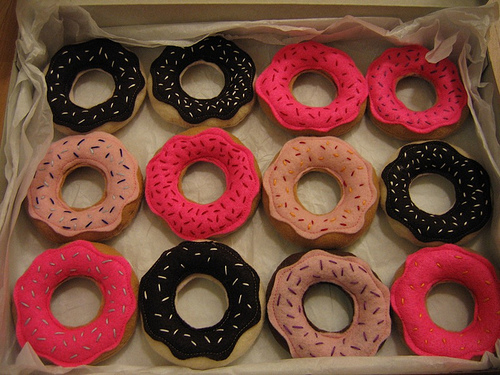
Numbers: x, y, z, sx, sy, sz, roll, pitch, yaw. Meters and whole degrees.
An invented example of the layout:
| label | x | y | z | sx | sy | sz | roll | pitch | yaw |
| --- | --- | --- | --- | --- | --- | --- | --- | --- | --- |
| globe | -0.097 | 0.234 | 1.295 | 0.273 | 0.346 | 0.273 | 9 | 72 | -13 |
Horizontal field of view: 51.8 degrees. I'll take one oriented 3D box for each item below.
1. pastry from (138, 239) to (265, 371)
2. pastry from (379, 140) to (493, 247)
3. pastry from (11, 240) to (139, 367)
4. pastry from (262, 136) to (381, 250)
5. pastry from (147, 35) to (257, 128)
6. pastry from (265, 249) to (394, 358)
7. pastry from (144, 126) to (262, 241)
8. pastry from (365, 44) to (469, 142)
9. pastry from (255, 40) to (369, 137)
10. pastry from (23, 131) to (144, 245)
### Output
| label | x | y | z | sx | sy | sz | roll | pitch | yaw |
| --- | --- | --- | --- | --- | --- | --- | --- | --- | --- |
| pastry | -0.242 | 0.572 | 2.532 | 0.630 | 0.529 | 0.343 | -9 | 19 | 0 |
| pastry | 0.973 | 0.049 | 2.678 | 0.414 | 0.255 | 0.385 | 6 | 42 | 1 |
| pastry | -0.857 | 0.565 | 2.440 | 0.521 | 0.647 | 0.211 | 5 | -22 | -2 |
| pastry | 0.358 | 0.020 | 2.543 | 0.526 | 0.626 | 0.217 | 5 | -20 | 2 |
| pastry | -0.156 | -0.617 | 3.027 | 0.705 | 0.757 | 0.475 | 2 | -42 | 7 |
| pastry | 0.383 | 0.560 | 2.523 | 0.606 | 0.421 | 0.311 | -4 | 20 | -2 |
| pastry | -0.249 | -0.024 | 2.787 | 0.519 | 0.646 | 0.219 | 6 | -19 | 3 |
| pastry | 0.909 | -0.511 | 2.816 | 0.514 | 0.559 | 0.197 | 28 | -14 | 8 |
| pastry | 0.344 | -0.532 | 2.912 | 0.515 | 0.590 | 0.208 | 10 | -23 | 2 |
| pastry | -0.864 | -0.002 | 2.695 | 0.597 | 0.520 | 0.330 | 0 | 19 | -3 |
